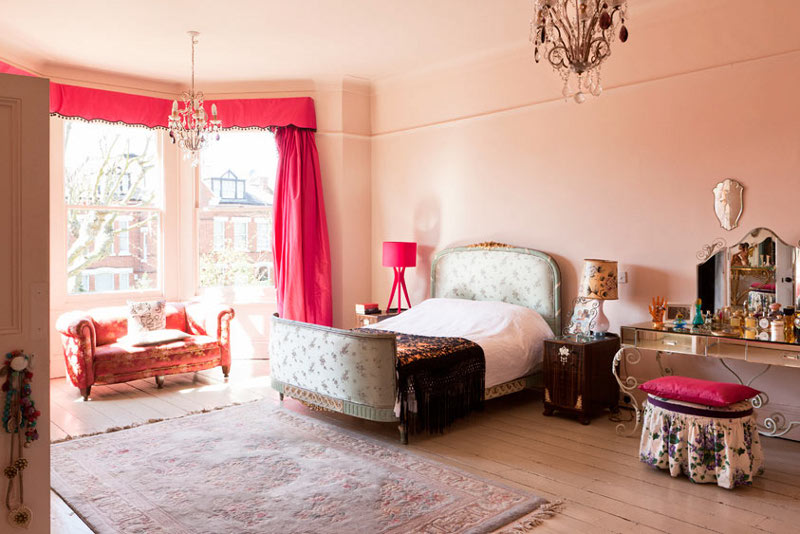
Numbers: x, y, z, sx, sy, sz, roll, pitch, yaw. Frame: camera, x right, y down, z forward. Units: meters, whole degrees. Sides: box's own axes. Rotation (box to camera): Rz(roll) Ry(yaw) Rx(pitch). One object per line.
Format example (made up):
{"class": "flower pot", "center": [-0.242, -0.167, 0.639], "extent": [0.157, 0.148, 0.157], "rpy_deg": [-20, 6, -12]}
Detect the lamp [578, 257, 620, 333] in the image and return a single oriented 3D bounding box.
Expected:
{"class": "lamp", "center": [1.939, 0.282, 5.558], "extent": [0.387, 0.721, 0.338], "rpy_deg": [1, 9, 7]}

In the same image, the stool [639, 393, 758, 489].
{"class": "stool", "center": [2.365, 1.158, 4.468], "extent": [0.876, 0.582, 0.608], "rpy_deg": [0, -4, 41]}

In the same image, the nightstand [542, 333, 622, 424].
{"class": "nightstand", "center": [1.668, 1.030, 5.796], "extent": [0.788, 0.978, 0.713], "rpy_deg": [-6, 7, -44]}

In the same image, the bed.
{"class": "bed", "center": [0.232, 0.662, 5.770], "extent": [2.235, 1.455, 2.154], "rpy_deg": [1, -1, -40]}
